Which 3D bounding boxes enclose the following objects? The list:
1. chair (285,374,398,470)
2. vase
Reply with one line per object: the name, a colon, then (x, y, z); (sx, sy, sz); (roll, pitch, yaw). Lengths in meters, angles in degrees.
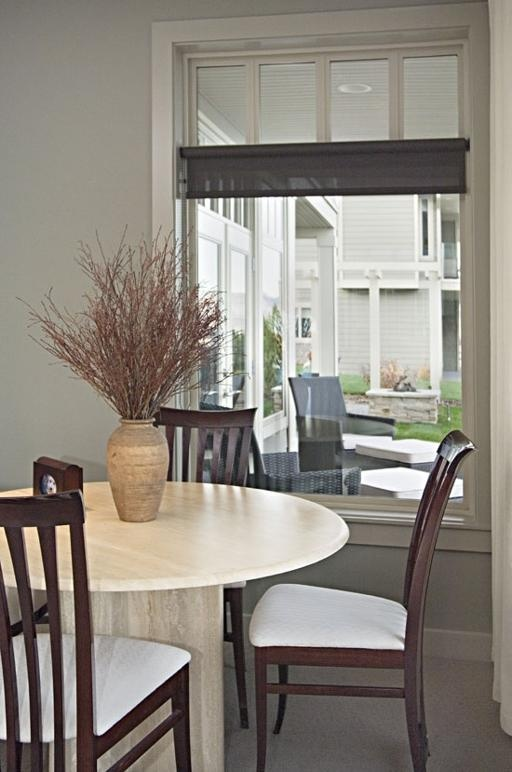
chair: (0.381, 0.236, 2.977); (0.391, 0.618, 0.451); (-3, -5, 10)
vase: (-0.316, 0.207, 1.880); (0.142, 0.288, 0.167); (1, 12, -6)
